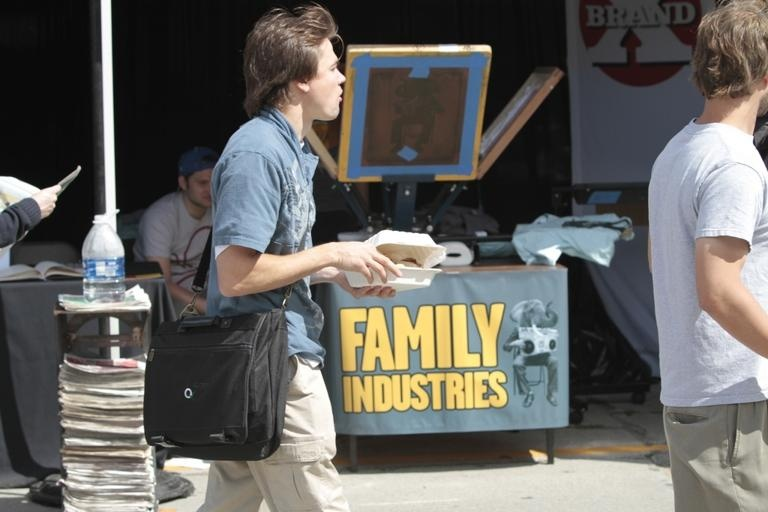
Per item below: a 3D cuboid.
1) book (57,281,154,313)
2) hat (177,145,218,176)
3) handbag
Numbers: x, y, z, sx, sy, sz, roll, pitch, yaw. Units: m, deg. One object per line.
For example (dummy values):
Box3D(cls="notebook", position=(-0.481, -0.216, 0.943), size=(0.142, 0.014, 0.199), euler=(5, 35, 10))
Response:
Box3D(cls="book", position=(-1.802, 0.284, 6.789), size=(0.562, 0.110, 0.277), euler=(-4, 13, -15))
Box3D(cls="hat", position=(-1.562, -0.800, 8.834), size=(0.343, 0.183, 0.241), euler=(-22, 16, -8))
Box3D(cls="handbag", position=(-0.860, 0.693, 5.615), size=(0.815, 0.774, 0.488), euler=(-4, -11, 28))
